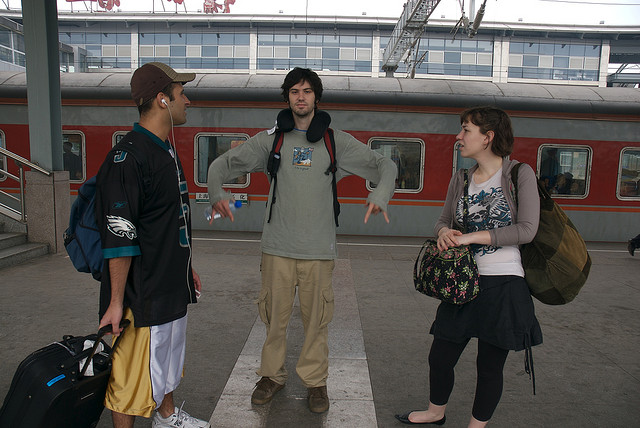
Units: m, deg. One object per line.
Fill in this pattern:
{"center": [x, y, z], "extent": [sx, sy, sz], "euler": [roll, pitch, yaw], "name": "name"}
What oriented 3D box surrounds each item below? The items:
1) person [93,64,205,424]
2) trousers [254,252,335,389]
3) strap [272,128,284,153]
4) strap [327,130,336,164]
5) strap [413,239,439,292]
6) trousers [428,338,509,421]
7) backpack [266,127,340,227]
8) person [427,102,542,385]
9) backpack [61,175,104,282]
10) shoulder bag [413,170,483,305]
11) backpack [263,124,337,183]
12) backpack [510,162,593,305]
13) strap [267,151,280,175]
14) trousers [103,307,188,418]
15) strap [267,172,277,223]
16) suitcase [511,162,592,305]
{"center": [-1.349, 0.223, 3.567], "extent": [0.761, 2.734, 0.525], "euler": [-8, 14, -40], "name": "person"}
{"center": [-0.249, 0.946, 4.486], "extent": [0.753, 1.678, 0.486], "euler": [2, 0, 7], "name": "trousers"}
{"center": [-0.391, -0.697, 4.374], "extent": [0.101, 0.217, 0.089], "euler": [1, 11, -1], "name": "strap"}
{"center": [0.127, -0.645, 4.392], "extent": [0.078, 0.310, 0.111], "euler": [-8, 15, -42], "name": "strap"}
{"center": [0.844, 0.480, 3.889], "extent": [0.250, 0.367, 0.390], "euler": [4, -28, -8], "name": "strap"}
{"center": [1.222, 1.354, 3.823], "extent": [0.595, 0.686, 0.179], "euler": [8, 13, 31], "name": "trousers"}
{"center": [-0.143, -0.395, 4.566], "extent": [0.693, 1.030, 0.420], "euler": [3, 17, 2], "name": "backpack"}
{"center": [1.405, 0.313, 3.785], "extent": [0.891, 2.364, 0.589], "euler": [4, 11, 14], "name": "person"}
{"center": [-1.794, 0.132, 3.465], "extent": [0.239, 0.779, 0.332], "euler": [-5, 13, -31], "name": "backpack"}
{"center": [1.074, 0.187, 3.924], "extent": [0.452, 1.136, 0.503], "euler": [0, -2, -1], "name": "shoulder bag"}
{"center": [-0.179, -0.616, 4.454], "extent": [0.685, 0.653, 0.455], "euler": [0, 7, 0], "name": "backpack"}
{"center": [1.889, 0.241, 3.643], "extent": [0.518, 1.012, 0.296], "euler": [7, 12, 26], "name": "backpack"}
{"center": [-0.460, -0.493, 4.442], "extent": [0.126, 0.183, 0.172], "euler": [9, 2, 35], "name": "strap"}
{"center": [-1.130, 1.194, 3.597], "extent": [0.414, 1.084, 0.933], "euler": [2, 5, 9], "name": "trousers"}
{"center": [-0.436, -0.146, 4.442], "extent": [0.069, 0.500, 0.058], "euler": [10, 3, 28], "name": "strap"}
{"center": [1.854, 0.140, 3.756], "extent": [0.519, 1.109, 0.627], "euler": [-22, 17, -23], "name": "suitcase"}
